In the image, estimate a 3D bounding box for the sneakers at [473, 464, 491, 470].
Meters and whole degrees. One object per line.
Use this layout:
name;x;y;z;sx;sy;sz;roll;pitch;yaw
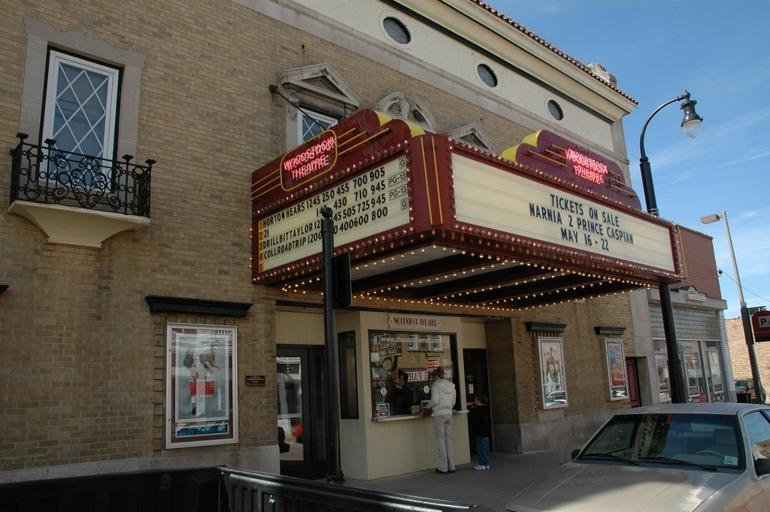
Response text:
sneakers;2.491;5.450;16.774;0.400;0.170;0.149;-3;-6;40

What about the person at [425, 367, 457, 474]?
person;1.474;4.151;16.568;0.661;2.635;0.656;-4;-15;2

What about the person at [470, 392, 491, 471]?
person;2.475;4.584;16.888;0.455;1.833;0.707;-5;-15;5
